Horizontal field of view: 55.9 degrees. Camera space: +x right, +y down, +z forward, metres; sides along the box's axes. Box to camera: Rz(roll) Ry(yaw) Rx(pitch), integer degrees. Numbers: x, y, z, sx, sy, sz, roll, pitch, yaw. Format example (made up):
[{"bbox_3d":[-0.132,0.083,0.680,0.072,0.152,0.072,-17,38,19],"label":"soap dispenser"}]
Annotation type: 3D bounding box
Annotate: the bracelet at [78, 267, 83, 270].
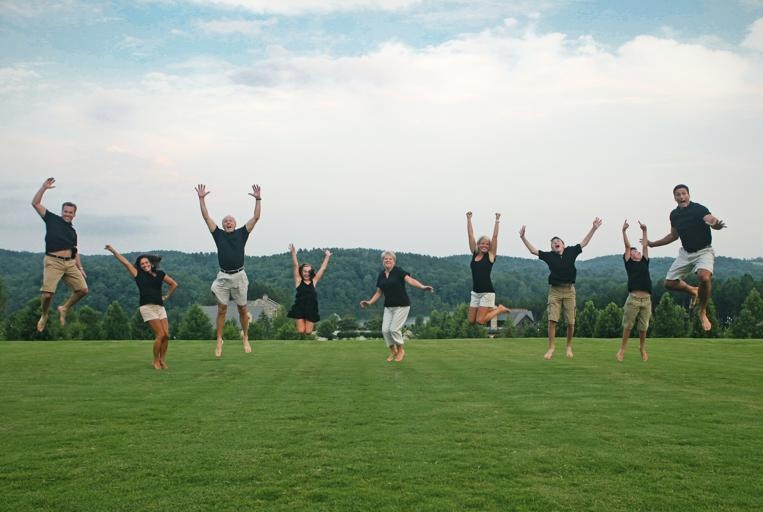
[{"bbox_3d":[-9.805,0.418,23.545,0.093,0.093,0.095,10,28,12],"label":"bracelet"}]
